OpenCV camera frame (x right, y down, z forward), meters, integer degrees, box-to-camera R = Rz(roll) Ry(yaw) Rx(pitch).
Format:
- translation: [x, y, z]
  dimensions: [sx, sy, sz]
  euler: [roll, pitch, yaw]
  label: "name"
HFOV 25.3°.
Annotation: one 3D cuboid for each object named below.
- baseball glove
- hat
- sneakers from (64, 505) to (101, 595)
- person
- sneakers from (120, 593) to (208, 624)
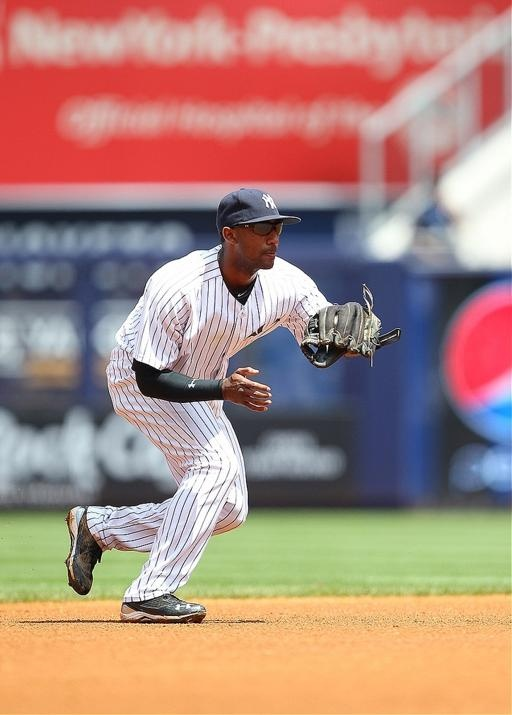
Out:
- translation: [0.273, -0.098, 3.574]
  dimensions: [0.234, 0.155, 0.388]
  euler: [8, 24, 28]
  label: "baseball glove"
- translation: [0.009, -0.430, 3.372]
  dimensions: [0.210, 0.099, 0.133]
  euler: [-6, 3, 22]
  label: "hat"
- translation: [-0.555, 0.633, 3.707]
  dimensions: [0.153, 0.281, 0.106]
  euler: [-6, -1, 6]
  label: "sneakers"
- translation: [-0.181, 0.156, 3.515]
  dimensions: [0.959, 1.308, 0.624]
  euler: [-1, -5, 30]
  label: "person"
- translation: [-0.272, 0.742, 3.443]
  dimensions: [0.270, 0.097, 0.098]
  euler: [-1, -1, -2]
  label: "sneakers"
